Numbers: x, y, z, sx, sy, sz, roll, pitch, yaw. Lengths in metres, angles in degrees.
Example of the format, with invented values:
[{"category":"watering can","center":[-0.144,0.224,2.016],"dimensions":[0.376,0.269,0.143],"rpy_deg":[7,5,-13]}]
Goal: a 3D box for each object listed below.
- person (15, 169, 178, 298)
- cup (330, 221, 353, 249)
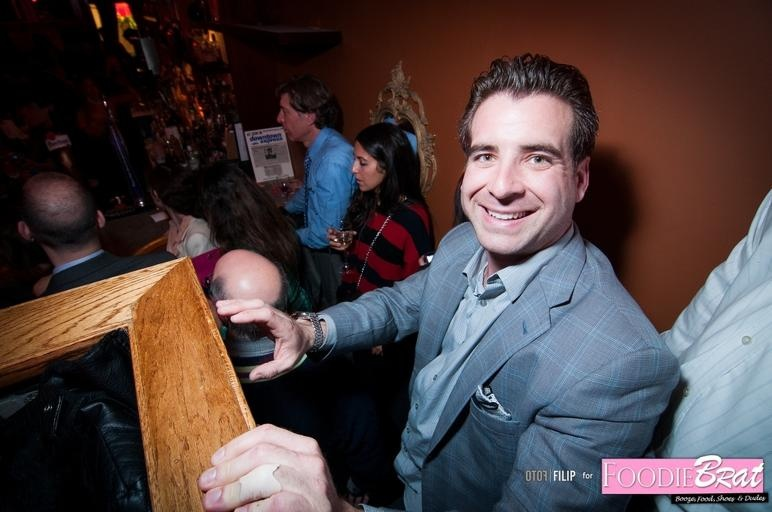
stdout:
[{"category":"person","center":[-1.748,-0.130,2.922],"dimensions":[0.736,0.468,0.521],"rpy_deg":[-26,46,-26]},{"category":"cup","center":[-0.307,-0.145,3.412],"dimensions":[0.156,0.175,0.157],"rpy_deg":[0,17,0]}]
